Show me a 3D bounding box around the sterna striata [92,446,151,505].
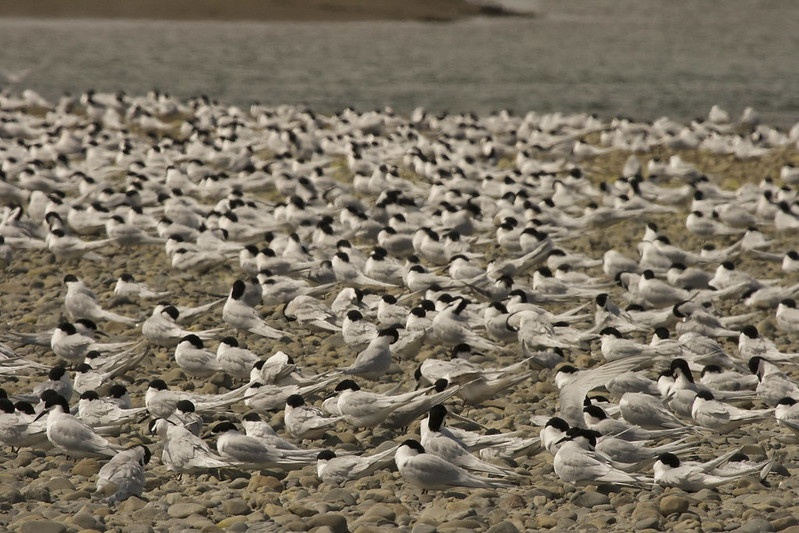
[{"bbox_3d":[-4.700,3.449,22.078,0.851,0.772,0.715,-1,21,-11],"label":"sterna striata"}]
